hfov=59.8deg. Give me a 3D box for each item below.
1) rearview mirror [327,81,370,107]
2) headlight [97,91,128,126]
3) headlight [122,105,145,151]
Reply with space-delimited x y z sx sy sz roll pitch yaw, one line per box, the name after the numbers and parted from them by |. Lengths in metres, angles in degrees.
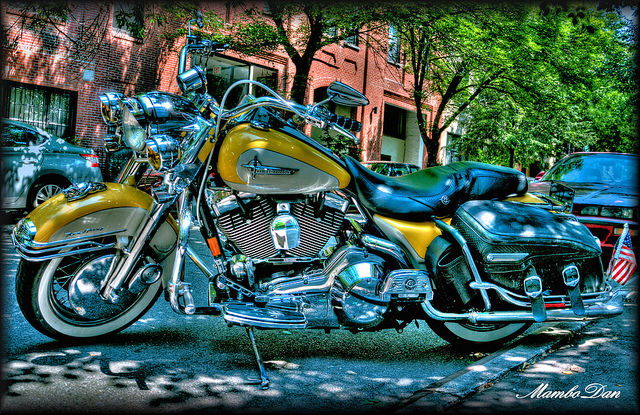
0.244 -1.043 5.271 0.409 0.198 0.099 14 -31 -7 | rearview mirror
-2.075 -1.009 5.709 0.349 0.316 0.246 -9 39 -29 | headlight
-1.844 -0.784 5.498 0.245 0.406 0.115 0 25 18 | headlight
